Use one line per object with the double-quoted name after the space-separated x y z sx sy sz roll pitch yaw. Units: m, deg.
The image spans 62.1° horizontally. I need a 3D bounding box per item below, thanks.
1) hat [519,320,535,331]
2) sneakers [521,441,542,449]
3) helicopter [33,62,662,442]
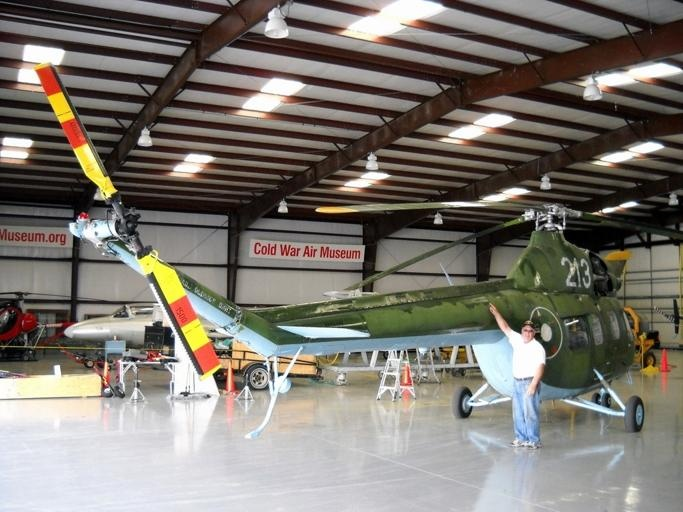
2.966 1.117 9.028 0.203 0.081 0.231 12 -29 16 "hat"
2.989 2.992 8.999 0.317 0.080 0.125 5 13 33 "sneakers"
0.515 0.501 10.022 10.869 3.221 6.447 1 -1 -31 "helicopter"
